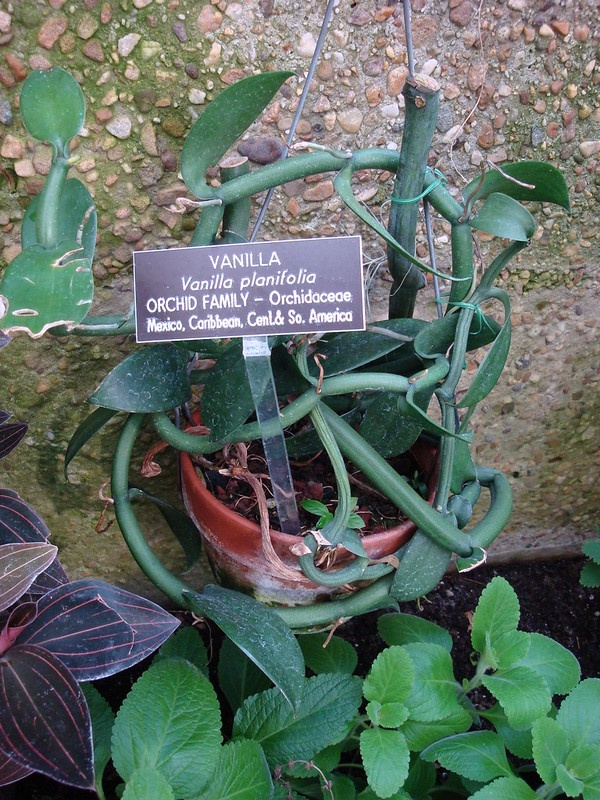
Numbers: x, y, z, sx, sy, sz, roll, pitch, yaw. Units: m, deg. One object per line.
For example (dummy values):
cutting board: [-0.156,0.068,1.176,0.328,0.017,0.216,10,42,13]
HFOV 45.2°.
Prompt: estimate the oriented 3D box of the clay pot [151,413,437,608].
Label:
clay pot: [-0.008,0.148,0.776,0.203,0.182,0.123,-6,-63,-14]
